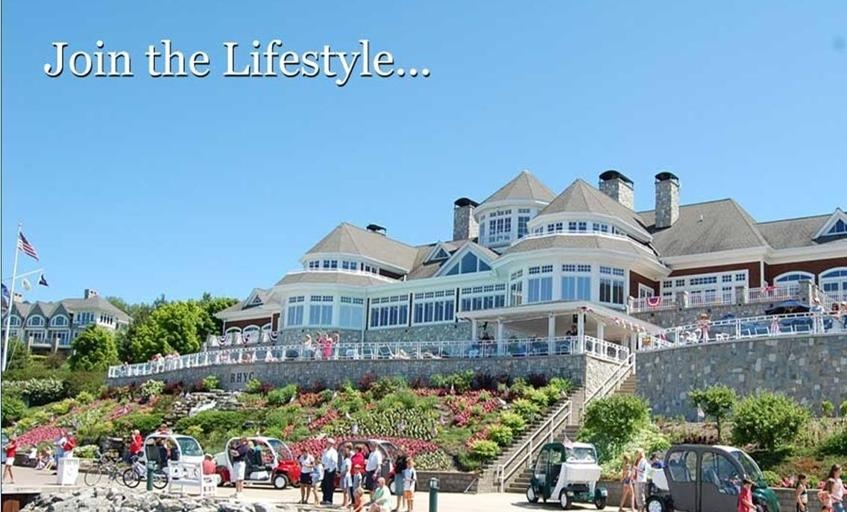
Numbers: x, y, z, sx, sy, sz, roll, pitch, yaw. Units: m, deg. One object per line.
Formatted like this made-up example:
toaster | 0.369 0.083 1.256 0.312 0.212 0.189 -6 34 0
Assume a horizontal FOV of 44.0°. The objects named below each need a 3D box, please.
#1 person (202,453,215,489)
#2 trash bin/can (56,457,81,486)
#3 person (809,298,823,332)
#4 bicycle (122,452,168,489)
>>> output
person | -10.401 10.254 50.938 0.585 1.340 2.544 4 -12 -11
trash bin/can | -17.493 10.485 51.741 0.916 1.323 1.214 6 -13 -20
person | 21.006 3.318 55.646 0.583 1.554 0.713 -3 -13 20
bicycle | -13.763 10.674 52.194 2.317 1.427 1.453 2 -14 5
